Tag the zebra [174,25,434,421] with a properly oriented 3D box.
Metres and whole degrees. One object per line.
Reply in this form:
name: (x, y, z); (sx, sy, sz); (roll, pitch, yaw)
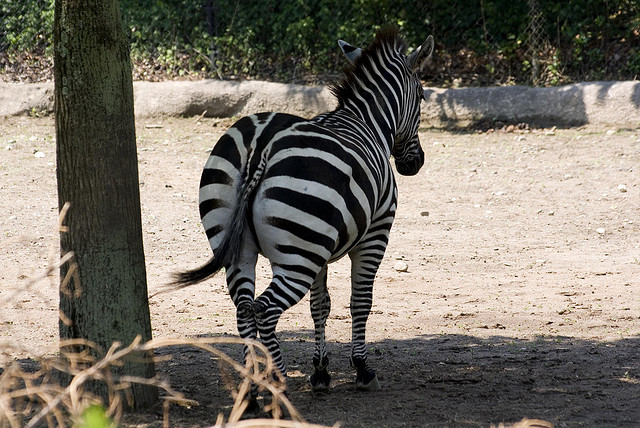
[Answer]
zebra: (-0.073, -0.053, 11.869); (1.330, 4.020, 2.711); (6, 12, 40)
